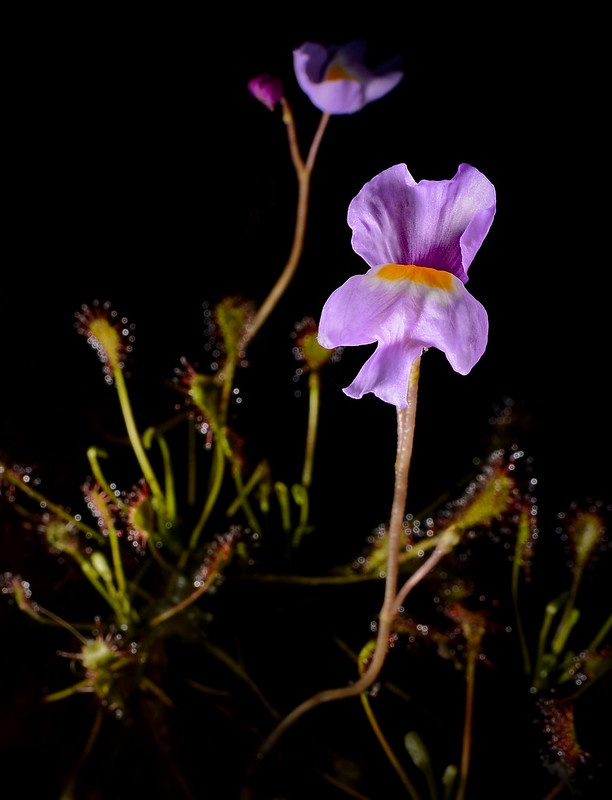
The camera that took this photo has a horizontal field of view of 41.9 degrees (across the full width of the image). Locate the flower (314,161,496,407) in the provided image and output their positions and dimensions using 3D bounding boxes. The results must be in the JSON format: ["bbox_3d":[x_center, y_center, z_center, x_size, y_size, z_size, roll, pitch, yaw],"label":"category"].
[{"bbox_3d":[0.068,-0.071,0.484,0.100,0.160,0.051,12,-22,18],"label":"flower"}]
